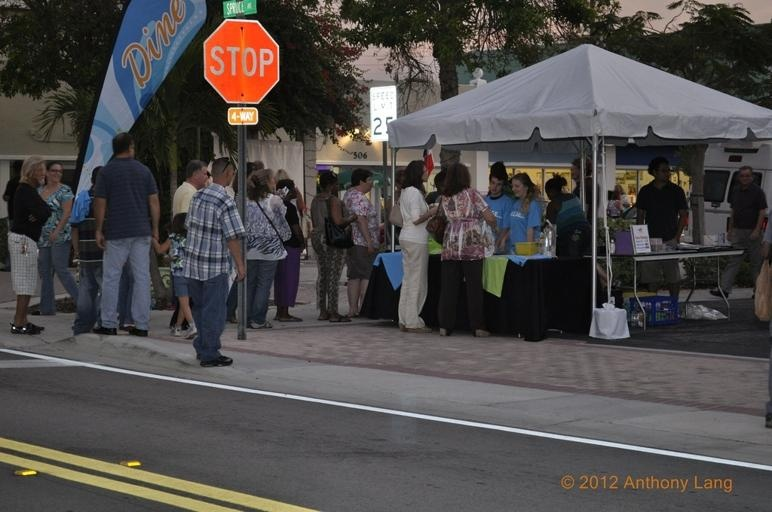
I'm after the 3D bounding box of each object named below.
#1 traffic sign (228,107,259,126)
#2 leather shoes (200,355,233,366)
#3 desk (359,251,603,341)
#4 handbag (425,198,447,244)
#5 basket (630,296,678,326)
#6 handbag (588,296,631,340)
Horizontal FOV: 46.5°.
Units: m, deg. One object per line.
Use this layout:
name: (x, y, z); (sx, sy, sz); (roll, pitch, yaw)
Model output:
traffic sign: (-2.019, -2.022, 12.997); (0.370, 0.338, 0.931); (1, 2, -6)
leather shoes: (-2.088, 1.325, 11.247); (0.387, 0.183, 0.149); (-1, 3, -17)
desk: (1.525, 0.643, 14.272); (2.573, 1.065, 1.645); (0, 3, 28)
handbag: (0.806, -0.531, 14.083); (0.303, 0.750, 0.611); (0, 9, -9)
basket: (4.404, 0.906, 14.998); (0.545, 0.398, 0.545); (-2, 3, -34)
handbag: (3.349, 0.962, 13.672); (0.507, 0.631, 0.513); (0, 0, -23)
